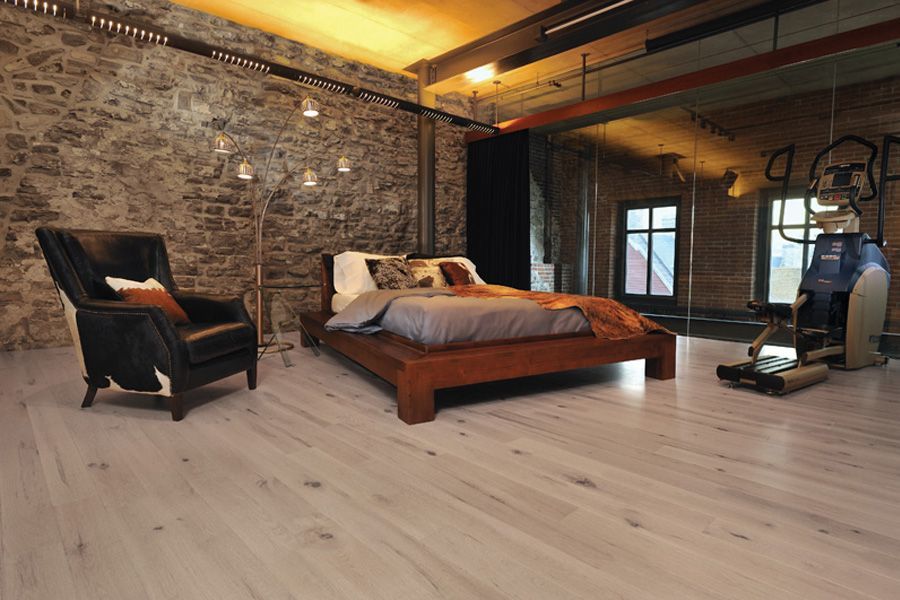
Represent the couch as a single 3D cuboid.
[{"bbox_3d":[-2.457,0.117,4.459,1.496,1.156,1.153,12,11,20],"label":"couch"}]
